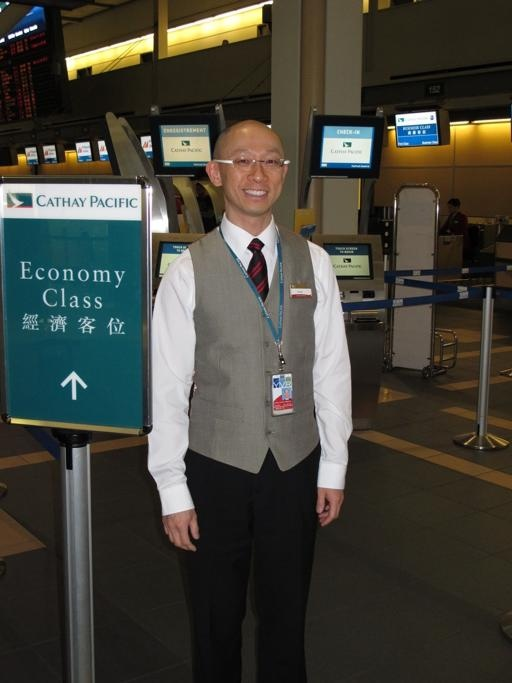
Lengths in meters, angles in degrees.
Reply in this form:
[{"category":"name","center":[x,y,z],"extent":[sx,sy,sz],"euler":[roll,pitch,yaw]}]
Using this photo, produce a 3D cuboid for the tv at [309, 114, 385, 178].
[{"category":"tv","center":[0.720,-1.592,4.636],"extent":[0.594,0.449,0.056],"euler":[-1,22,-9]}]
